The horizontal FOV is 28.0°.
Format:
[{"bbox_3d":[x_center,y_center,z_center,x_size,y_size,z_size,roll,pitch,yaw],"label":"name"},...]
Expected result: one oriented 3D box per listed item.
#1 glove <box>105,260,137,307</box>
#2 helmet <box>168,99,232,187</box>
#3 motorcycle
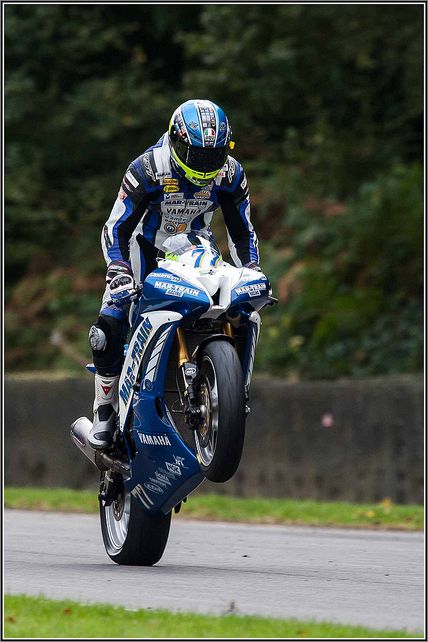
[{"bbox_3d":[-0.547,-0.207,5.062,0.172,0.260,0.117,-9,-33,12],"label":"glove"},{"bbox_3d":[-0.097,-1.062,4.998,0.408,0.516,0.336,5,4,20],"label":"helmet"},{"bbox_3d":[-0.226,0.584,5.056,0.714,2.227,1.768,3,3,-20],"label":"motorcycle"}]
